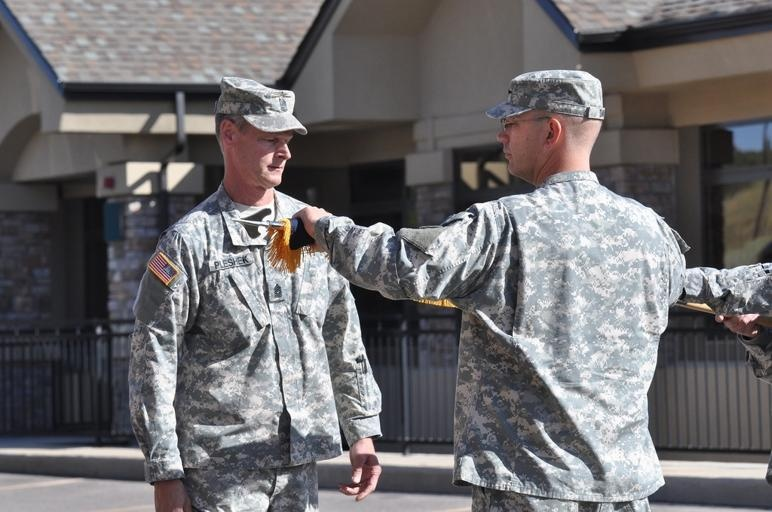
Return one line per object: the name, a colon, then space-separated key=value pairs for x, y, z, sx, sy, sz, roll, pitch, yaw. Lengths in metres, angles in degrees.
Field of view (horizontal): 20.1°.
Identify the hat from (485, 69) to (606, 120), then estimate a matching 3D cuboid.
hat: x=1.604 y=-1.530 z=20.865 sx=0.891 sy=0.314 sz=0.535 roll=3 pitch=0 yaw=6
